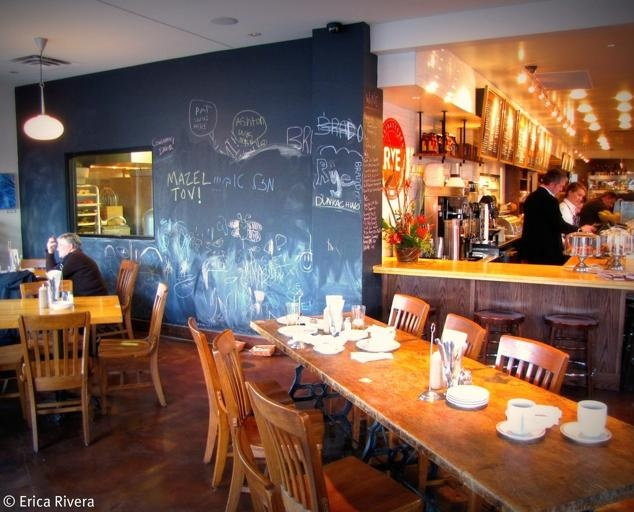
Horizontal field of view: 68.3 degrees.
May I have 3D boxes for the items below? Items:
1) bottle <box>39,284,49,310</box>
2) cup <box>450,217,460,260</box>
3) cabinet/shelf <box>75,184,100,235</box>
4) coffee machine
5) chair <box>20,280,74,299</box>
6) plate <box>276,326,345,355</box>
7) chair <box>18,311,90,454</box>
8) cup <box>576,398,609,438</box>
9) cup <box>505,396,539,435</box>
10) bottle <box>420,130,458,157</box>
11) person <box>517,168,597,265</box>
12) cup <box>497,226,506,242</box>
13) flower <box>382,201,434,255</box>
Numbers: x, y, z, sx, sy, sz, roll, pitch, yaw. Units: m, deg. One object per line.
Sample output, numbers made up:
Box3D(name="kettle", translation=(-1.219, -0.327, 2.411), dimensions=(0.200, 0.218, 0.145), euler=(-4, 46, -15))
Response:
Box3D(name="bottle", translation=(-2.229, 0.335, 3.846), dimensions=(0.086, 0.173, 0.214), euler=(-8, 11, -31))
Box3D(name="cup", translation=(1.676, -0.196, 5.645), dimensions=(0.090, 0.481, 0.166), euler=(5, 12, 40))
Box3D(name="cabinet/shelf", translation=(-3.210, -0.680, 6.620), dimensions=(0.460, 0.682, 0.145), euler=(2, 10, 28))
Box3D(name="coffee machine", translation=(1.800, -0.357, 5.904), dimensions=(0.405, 0.842, 0.849), euler=(1, 2, 43))
Box3D(name="chair", translation=(-2.553, 0.303, 4.405), dimensions=(0.279, 0.227, 0.294), euler=(2, 4, 3))
Box3D(name="plate", translation=(-0.023, 0.516, 2.889), dimensions=(0.153, 0.058, 0.350), euler=(0, 1, -27))
Box3D(name="chair", translation=(-1.980, 0.828, 3.582), dimensions=(0.468, 1.026, 1.097), euler=(-8, 11, -32))
Box3D(name="cup", translation=(1.064, 0.609, 1.788), dimensions=(0.116, 0.149, 0.126), euler=(-1, -3, 0))
Box3D(name="cup", translation=(0.765, 0.606, 1.764), dimensions=(0.082, 0.104, 0.135), euler=(-1, -2, 5))
Box3D(name="bottle", translation=(1.546, -1.426, 5.990), dimensions=(0.630, 0.293, 0.244), euler=(-9, 11, -34))
Box3D(name="person", translation=(2.648, -0.431, 5.382), dimensions=(0.781, 1.103, 0.473), euler=(-8, 11, -30))
Box3D(name="cup", translation=(2.781, -0.326, 7.085), dimensions=(0.132, 0.262, 0.256), euler=(0, 3, 6))
Box3D(name="flower", translation=(0.963, -0.306, 4.993), dimensions=(0.481, 0.377, 0.510), euler=(-2, 7, -36))
